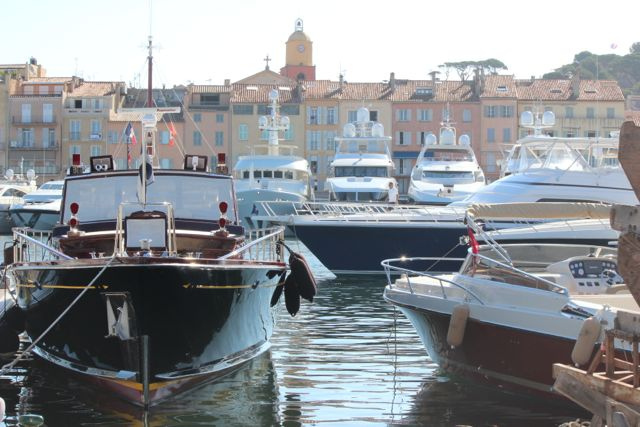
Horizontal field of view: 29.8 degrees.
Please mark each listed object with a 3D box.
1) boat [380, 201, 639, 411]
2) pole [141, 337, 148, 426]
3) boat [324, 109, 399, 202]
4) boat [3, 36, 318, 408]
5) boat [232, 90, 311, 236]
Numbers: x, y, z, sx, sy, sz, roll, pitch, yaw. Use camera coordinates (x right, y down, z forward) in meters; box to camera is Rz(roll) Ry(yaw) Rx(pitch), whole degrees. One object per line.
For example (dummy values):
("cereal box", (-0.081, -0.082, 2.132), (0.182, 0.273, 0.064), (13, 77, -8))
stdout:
("boat", (3.680, 1.672, 22.269), (3.911, 3.802, 3.462), (-2, -2, -12))
("pole", (-3.177, 3.007, 21.461), (0.116, 1.562, 0.351), (-2, -2, -8))
("boat", (1.452, -1.695, 42.322), (1.814, 2.190, 4.864), (0, 0, 3))
("boat", (-3.668, 1.490, 25.484), (4.737, 4.434, 8.597), (0, -7, -7))
("boat", (-1.741, -1.816, 43.980), (2.886, 4.396, 8.747), (3, 6, 5))
